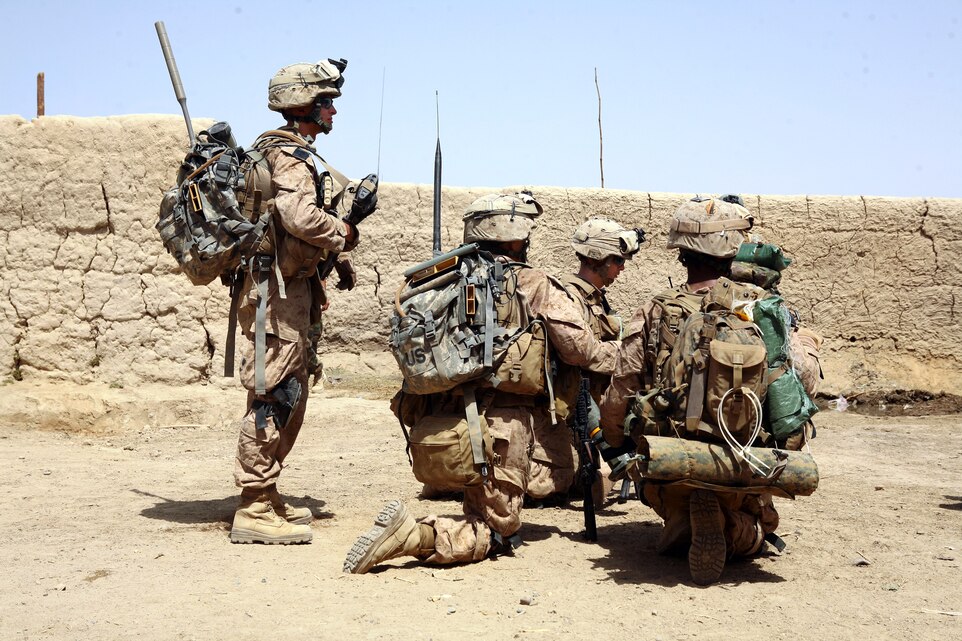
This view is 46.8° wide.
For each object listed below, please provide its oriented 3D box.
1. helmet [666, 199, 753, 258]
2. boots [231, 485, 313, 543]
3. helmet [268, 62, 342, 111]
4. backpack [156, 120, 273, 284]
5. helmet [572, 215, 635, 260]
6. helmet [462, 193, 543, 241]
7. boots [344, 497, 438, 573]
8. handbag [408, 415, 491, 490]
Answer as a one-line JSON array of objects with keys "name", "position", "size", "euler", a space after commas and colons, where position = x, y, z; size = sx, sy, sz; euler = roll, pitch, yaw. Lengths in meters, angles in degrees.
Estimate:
[{"name": "helmet", "position": [1.535, -0.644, 7.657], "size": [0.449, 0.312, 0.559], "euler": [-6, 9, -13]}, {"name": "boots", "position": [-1.502, 1.427, 7.996], "size": [0.450, 0.264, 0.544], "euler": [0, -2, -6]}, {"name": "helmet", "position": [-1.284, -1.701, 8.186], "size": [0.615, 0.326, 0.428], "euler": [-1, 12, 5]}, {"name": "backpack", "position": [-1.875, -0.727, 7.865], "size": [0.817, 0.970, 0.390], "euler": [1, 11, -3]}, {"name": "helmet", "position": [1.030, -0.660, 9.069], "size": [0.604, 0.318, 0.449], "euler": [13, 23, 32]}, {"name": "helmet", "position": [0.133, -0.719, 8.126], "size": [0.546, 0.370, 0.614], "euler": [-5, -1, 40]}, {"name": "boots", "position": [-0.582, 1.455, 7.526], "size": [0.904, 0.450, 0.279], "euler": [4, -2, -31]}, {"name": "handbag", "position": [-0.252, 0.841, 7.678], "size": [0.660, 0.560, 0.494], "euler": [-4, -5, 42]}]
